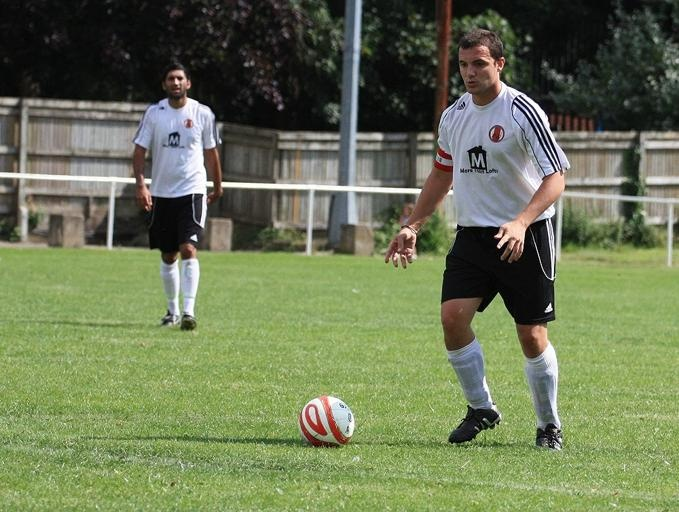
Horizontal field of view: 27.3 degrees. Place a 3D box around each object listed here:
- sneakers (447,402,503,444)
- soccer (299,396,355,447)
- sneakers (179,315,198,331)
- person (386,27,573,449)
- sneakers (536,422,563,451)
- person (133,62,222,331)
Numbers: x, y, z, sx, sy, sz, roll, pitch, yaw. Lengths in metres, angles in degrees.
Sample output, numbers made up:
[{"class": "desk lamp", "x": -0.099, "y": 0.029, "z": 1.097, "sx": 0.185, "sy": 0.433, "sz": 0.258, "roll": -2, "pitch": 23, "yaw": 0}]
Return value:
[{"class": "sneakers", "x": 0.581, "y": 0.713, "z": 5.965, "sx": 0.268, "sy": 0.141, "sz": 0.097, "roll": -21, "pitch": 4, "yaw": -22}, {"class": "soccer", "x": -0.028, "y": 0.684, "z": 5.917, "sx": 0.217, "sy": 0.239, "sz": 0.231, "roll": -3, "pitch": -3, "yaw": -27}, {"class": "sneakers", "x": -0.835, "y": 0.385, "z": 7.728, "sx": 0.050, "sy": 0.057, "sz": 0.120, "roll": 1, "pitch": -22, "yaw": -9}, {"class": "person", "x": 0.620, "y": -0.065, "z": 5.900, "sx": 0.752, "sy": 1.722, "sz": 0.504, "roll": 5, "pitch": 8, "yaw": 16}, {"class": "sneakers", "x": 0.884, "y": 0.766, "z": 5.867, "sx": 0.112, "sy": 0.088, "sz": 0.100, "roll": 4, "pitch": 9, "yaw": 11}, {"class": "person", "x": -0.891, "y": -0.272, "z": 7.697, "sx": 0.479, "sy": 1.389, "sz": 0.881, "roll": 1, "pitch": 8, "yaw": -6}]
